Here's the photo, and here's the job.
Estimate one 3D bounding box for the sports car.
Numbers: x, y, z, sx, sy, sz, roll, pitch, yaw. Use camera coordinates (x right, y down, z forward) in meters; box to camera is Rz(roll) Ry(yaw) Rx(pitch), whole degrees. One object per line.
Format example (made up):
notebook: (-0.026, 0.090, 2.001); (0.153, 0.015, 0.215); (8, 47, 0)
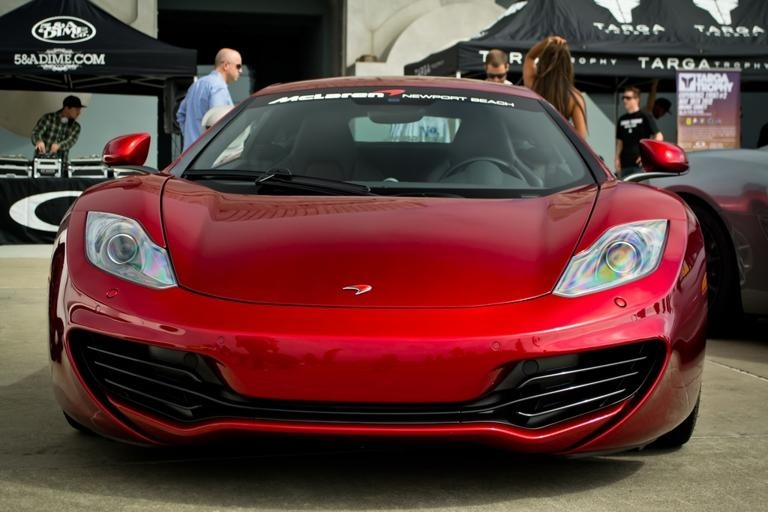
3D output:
sports car: (-0.031, -0.129, 3.866); (2.880, 1.660, 3.048); (-1, 7, -11)

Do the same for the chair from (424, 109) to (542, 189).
chair: (0.497, -0.508, 3.544); (0.347, 0.168, 0.524); (0, 49, 1)
